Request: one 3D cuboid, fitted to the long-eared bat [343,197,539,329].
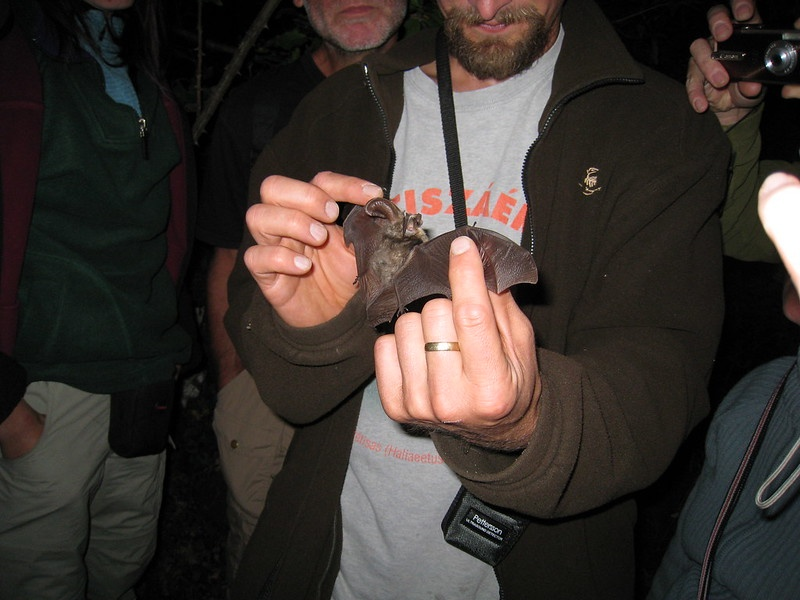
[{"bbox_3d":[-0.004,-0.168,2.628,0.776,0.299,0.350,28,51,36],"label":"long-eared bat"}]
